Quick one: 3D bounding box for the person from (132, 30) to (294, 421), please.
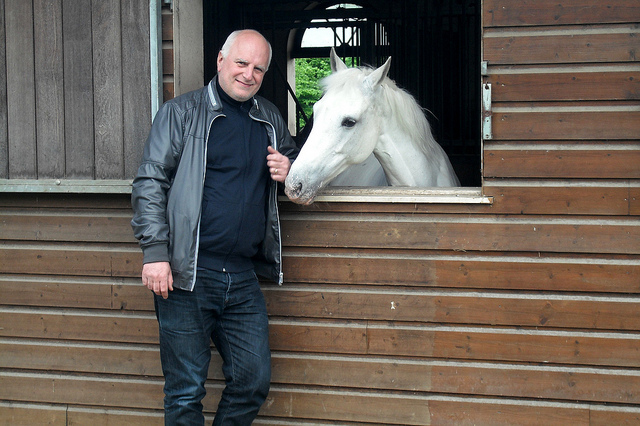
[{"bbox_3d":[-0.665,0.077,5.064,0.991,2.436,0.366,-1,4,-14],"label":"person"}]

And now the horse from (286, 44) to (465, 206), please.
[{"bbox_3d":[0.372,-0.561,5.460,1.424,0.927,0.401,-6,7,-44],"label":"horse"}]
